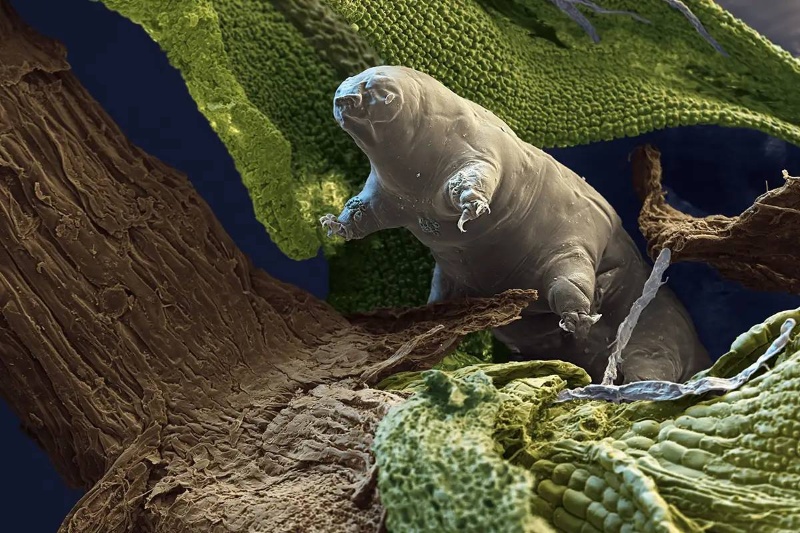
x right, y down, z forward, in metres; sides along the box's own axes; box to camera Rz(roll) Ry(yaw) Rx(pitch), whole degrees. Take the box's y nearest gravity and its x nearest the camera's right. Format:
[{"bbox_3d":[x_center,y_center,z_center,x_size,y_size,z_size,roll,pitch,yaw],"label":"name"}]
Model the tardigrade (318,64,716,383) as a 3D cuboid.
[{"bbox_3d":[0.301,-0.085,2.899,1.266,0.444,0.565,34,57,-29],"label":"tardigrade"}]
